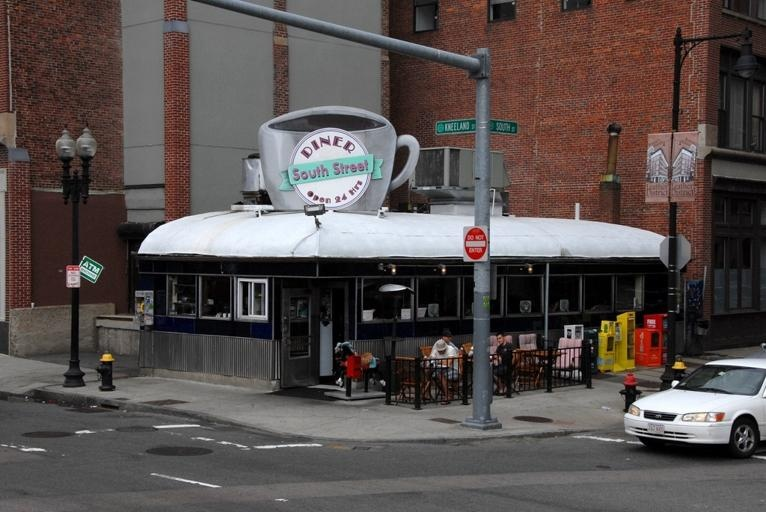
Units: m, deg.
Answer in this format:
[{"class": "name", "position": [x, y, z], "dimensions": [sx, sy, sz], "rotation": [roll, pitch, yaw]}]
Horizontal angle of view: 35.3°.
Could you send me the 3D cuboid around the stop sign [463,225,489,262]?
[{"class": "stop sign", "position": [2.633, -0.326, 33.527], "dimensions": [1.071, 1.381, 0.154], "rotation": [1, 5, 32]}]
